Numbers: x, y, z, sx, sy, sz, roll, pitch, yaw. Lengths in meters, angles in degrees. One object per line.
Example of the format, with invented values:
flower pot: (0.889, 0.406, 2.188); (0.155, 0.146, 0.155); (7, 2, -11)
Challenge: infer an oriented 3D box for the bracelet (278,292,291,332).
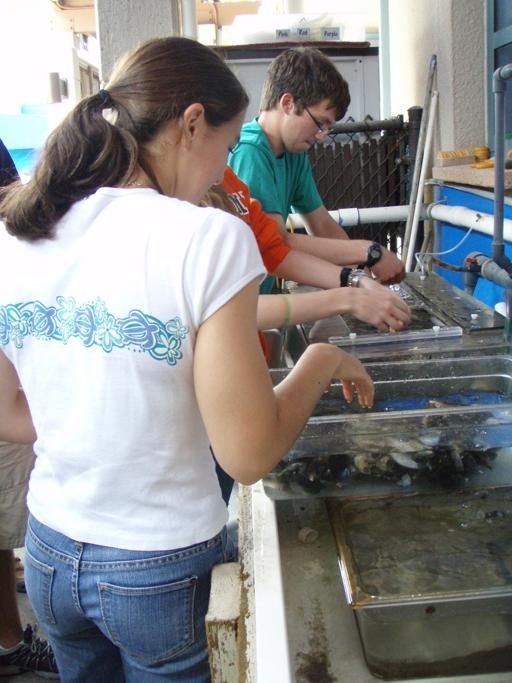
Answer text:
bracelet: (0.075, -0.076, 1.505); (0.016, 0.060, 0.066); (-3, -1, -7)

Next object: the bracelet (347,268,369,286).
bracelet: (0.317, -0.195, 1.773); (0.044, 0.066, 0.060); (27, -14, 22)

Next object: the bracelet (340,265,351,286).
bracelet: (0.265, -0.205, 1.768); (0.027, 0.049, 0.039); (7, 3, 4)

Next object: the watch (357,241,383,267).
watch: (0.418, -0.312, 2.071); (0.065, 0.091, 0.086); (17, -2, -20)
